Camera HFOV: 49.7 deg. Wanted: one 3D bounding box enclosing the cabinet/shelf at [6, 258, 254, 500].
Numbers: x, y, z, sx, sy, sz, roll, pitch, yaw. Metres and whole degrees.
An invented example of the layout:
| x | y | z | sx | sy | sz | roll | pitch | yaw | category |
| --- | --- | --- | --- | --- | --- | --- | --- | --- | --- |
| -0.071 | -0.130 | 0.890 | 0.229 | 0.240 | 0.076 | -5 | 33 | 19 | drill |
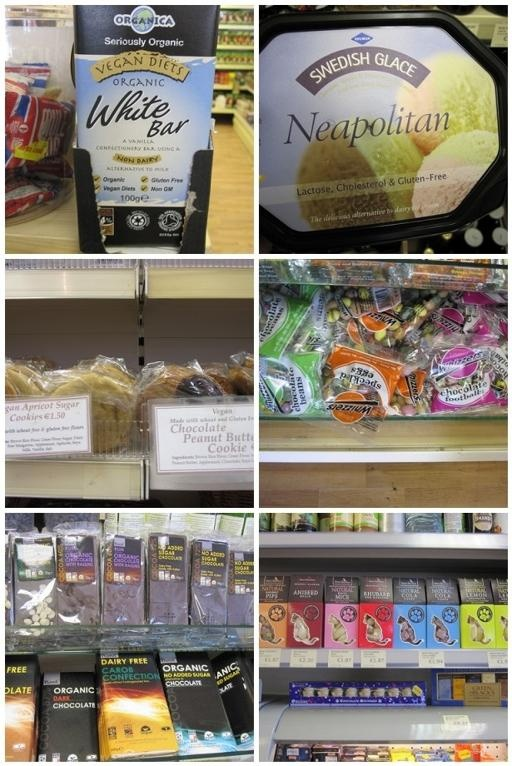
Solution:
| x | y | z | sx | sy | sz | roll | pitch | yaw | category |
| --- | --- | --- | --- | --- | --- | --- | --- | --- | --- |
| -0.251 | 0.006 | 1.141 | 0.491 | 0.464 | 0.505 | 1 | 6 | -2 | cabinet/shelf |
